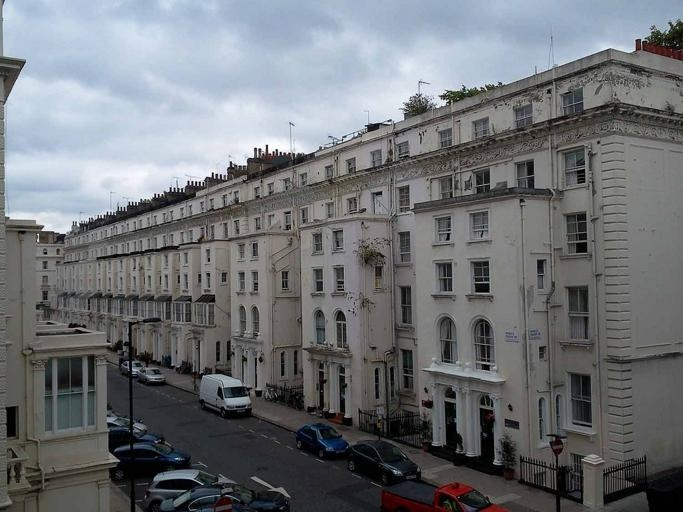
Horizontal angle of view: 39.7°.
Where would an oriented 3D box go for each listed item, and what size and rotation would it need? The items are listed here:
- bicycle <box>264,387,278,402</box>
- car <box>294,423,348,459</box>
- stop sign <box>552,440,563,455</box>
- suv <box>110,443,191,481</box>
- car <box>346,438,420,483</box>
[{"bbox_3d":[-5.281,10.389,71.920,0.424,1.107,1.549,4,-6,-36],"label":"bicycle"},{"bbox_3d":[-1.028,11.443,58.600,1.468,1.916,3.459,4,-7,-42],"label":"car"},{"bbox_3d":[11.075,9.757,48.322,0.515,0.782,1.160,-1,-5,8],"label":"stop sign"},{"bbox_3d":[-11.035,11.971,56.127,4.149,1.911,2.317,-4,4,-4],"label":"suv"},{"bbox_3d":[2.411,11.854,54.193,2.013,1.861,4.719,2,-4,-23],"label":"car"}]
